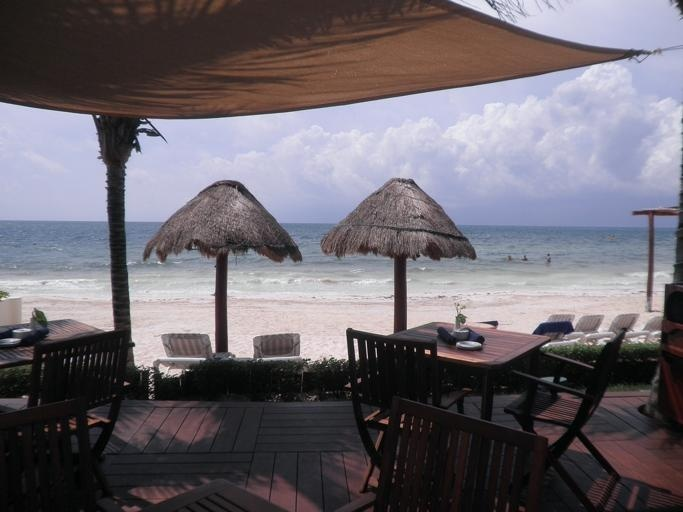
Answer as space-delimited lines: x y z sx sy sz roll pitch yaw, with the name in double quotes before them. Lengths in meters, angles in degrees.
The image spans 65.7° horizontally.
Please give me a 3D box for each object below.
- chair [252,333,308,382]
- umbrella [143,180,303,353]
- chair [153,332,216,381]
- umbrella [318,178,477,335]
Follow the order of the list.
"chair" -0.907 1.419 7.394 0.762 0.676 0.674 0 -12 -23
"umbrella" -1.799 0.152 7.481 2.691 2.378 2.460 -2 -6 -6
"chair" -2.091 1.253 7.197 0.761 0.512 0.659 1 -38 -6
"umbrella" 0.730 -0.067 6.654 2.042 1.732 1.992 6 9 17
